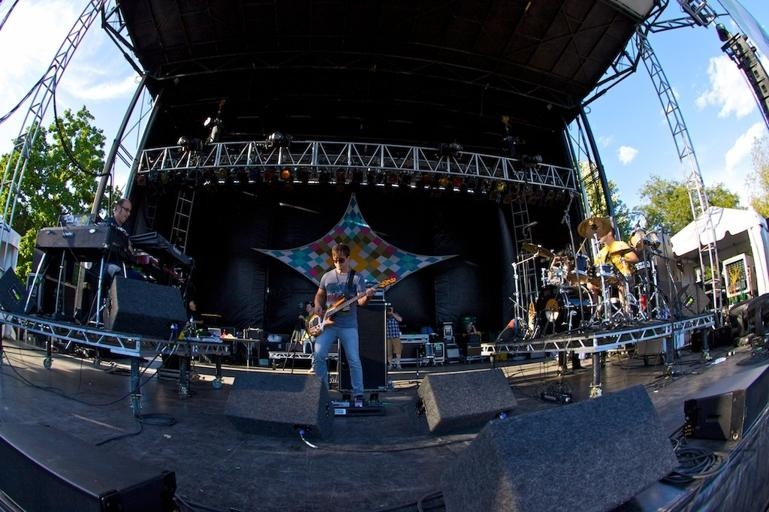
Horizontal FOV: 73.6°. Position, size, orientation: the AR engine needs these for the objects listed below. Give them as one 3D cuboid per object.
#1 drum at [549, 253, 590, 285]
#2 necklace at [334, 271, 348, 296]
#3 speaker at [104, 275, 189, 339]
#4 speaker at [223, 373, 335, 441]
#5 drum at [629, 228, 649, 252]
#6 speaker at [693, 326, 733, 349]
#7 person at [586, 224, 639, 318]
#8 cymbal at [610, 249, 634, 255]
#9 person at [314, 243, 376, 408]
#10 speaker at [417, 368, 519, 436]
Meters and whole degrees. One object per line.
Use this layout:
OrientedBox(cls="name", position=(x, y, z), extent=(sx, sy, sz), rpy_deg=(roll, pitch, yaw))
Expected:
OrientedBox(cls="drum", position=(3.479, 0.219, 9.626), extent=(0.432, 0.634, 1.049), rpy_deg=(1, -8, -8))
OrientedBox(cls="necklace", position=(-0.612, 0.374, 7.342), extent=(0.158, 0.303, 0.176), rpy_deg=(-2, -3, 19))
OrientedBox(cls="speaker", position=(-3.090, 0.667, 6.733), extent=(0.893, 0.769, 0.243), rpy_deg=(4, -10, -30))
OrientedBox(cls="speaker", position=(-1.236, 1.663, 5.877), extent=(1.110, 0.722, 0.767), rpy_deg=(5, 26, 4))
OrientedBox(cls="drum", position=(4.419, -0.295, 8.983), extent=(0.345, 0.355, 0.447), rpy_deg=(8, -39, 26))
OrientedBox(cls="speaker", position=(5.741, 1.445, 9.117), extent=(0.931, 0.426, 0.469), rpy_deg=(5, -10, -35))
OrientedBox(cls="person", position=(3.985, 0.186, 9.151), extent=(0.682, 1.592, 0.663), rpy_deg=(-6, 17, -43))
OrientedBox(cls="cymbal", position=(3.991, -0.078, 8.702), extent=(0.207, 0.096, 0.377), rpy_deg=(8, -11, -44))
OrientedBox(cls="person", position=(-0.597, 0.956, 7.621), extent=(0.816, 2.263, 0.754), rpy_deg=(2, -2, -1))
OrientedBox(cls="speaker", position=(0.923, 1.623, 6.179), extent=(1.224, 0.705, 0.766), rpy_deg=(-3, -31, -17))
